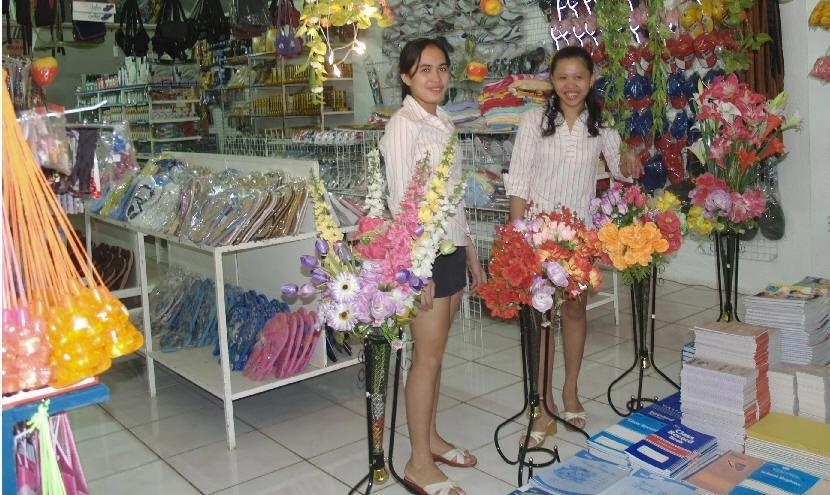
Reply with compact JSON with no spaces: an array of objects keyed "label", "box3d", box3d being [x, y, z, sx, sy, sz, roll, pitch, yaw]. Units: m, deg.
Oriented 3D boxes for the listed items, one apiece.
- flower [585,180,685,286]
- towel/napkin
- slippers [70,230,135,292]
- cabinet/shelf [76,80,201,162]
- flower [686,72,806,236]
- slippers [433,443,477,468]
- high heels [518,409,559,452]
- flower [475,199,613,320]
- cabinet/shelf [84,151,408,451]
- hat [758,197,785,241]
[{"label":"flower","box3d":[1.368,-0.058,3.718,0.605,0.546,0.630,6,34,24]},{"label":"towel/napkin","box3d":[0.788,-1.350,5.677,0.741,0.233,0.722,-9,17,6]},{"label":"slippers","box3d":[-2.857,0.128,5.668,0.695,0.256,0.519,-5,20,-42]},{"label":"cabinet/shelf","box3d":[-4.418,-2.031,10.134,1.367,1.215,0.488,-6,-12,-7]},{"label":"flower","box3d":[2.277,-0.625,4.256,0.635,1.139,0.752,5,20,30]},{"label":"slippers","box3d":[0.229,1.296,3.757,0.266,0.075,0.138,1,13,9]},{"label":"high heels","box3d":[0.774,1.128,3.896,0.147,0.227,0.357,3,17,42]},{"label":"flower","box3d":[0.720,0.140,3.424,0.679,0.599,0.687,-15,27,-8]},{"label":"cabinet/shelf","box3d":[-1.200,0.424,4.175,0.731,1.225,2.115,-6,11,-36]},{"label":"hat","box3d":[3.592,-0.256,6.105,0.276,0.499,0.170,3,10,23]}]
